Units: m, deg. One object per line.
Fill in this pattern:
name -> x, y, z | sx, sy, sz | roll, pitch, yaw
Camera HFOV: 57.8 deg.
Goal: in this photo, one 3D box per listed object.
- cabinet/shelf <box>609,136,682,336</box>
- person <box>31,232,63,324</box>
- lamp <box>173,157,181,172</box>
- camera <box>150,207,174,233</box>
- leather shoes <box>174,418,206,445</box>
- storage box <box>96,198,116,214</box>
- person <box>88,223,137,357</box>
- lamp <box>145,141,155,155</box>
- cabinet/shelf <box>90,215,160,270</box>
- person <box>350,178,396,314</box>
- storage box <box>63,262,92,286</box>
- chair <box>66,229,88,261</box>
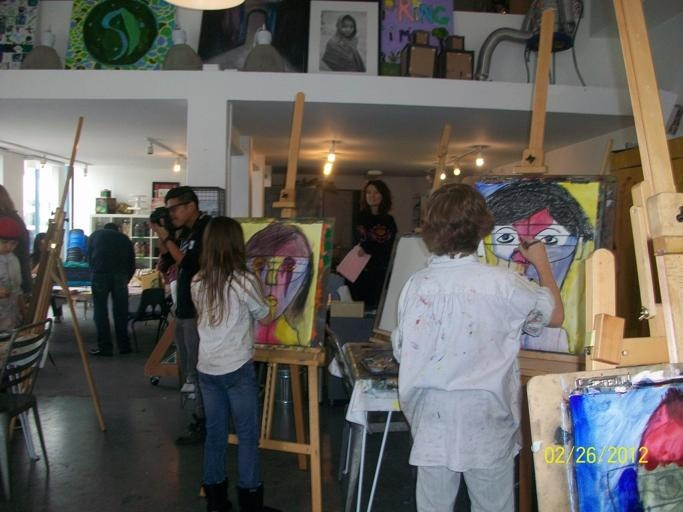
cabinet/shelf -> 2.686, -0.144, 5.521 | 0.545, 1.832, 1.551 | 3, 6, 18
person -> -3.183, 0.244, 6.557 | 0.233, 1.118, 0.183 | -3, 28, -42
lamp -> -2.632, -1.464, 9.970 | 0.118, 0.179, 1.706 | -1, 7, -15
camera -> -1.235, -0.257, 4.280 | 0.160, 0.163, 0.161 | -8, 15, -38
leather shoes -> -1.084, 1.319, 4.541 | 0.169, 0.080, 0.261 | 12, 20, 9
storage box -> -4.071, -0.863, 10.713 | 0.283, 0.295, 0.293 | 4, -1, -19
person -> -2.453, 0.391, 6.663 | 0.441, 1.323, 0.392 | -1, 6, -21
lamp -> -2.516, -1.434, 8.142 | 0.124, 0.215, 0.125 | 7, 10, 37
cabinet/shelf -> -2.850, -0.167, 8.284 | 0.928, 0.875, 0.274 | 0, 2, -1
person -> 0.290, -0.068, 5.757 | 0.445, 1.283, 1.027 | 1, 6, 0
storage box -> -3.353, 0.245, 7.884 | 0.326, 0.330, 0.116 | -5, -7, 11
chair -> -4.211, -0.172, 9.871 | 0.295, 0.488, 0.591 | -2, 7, -23
